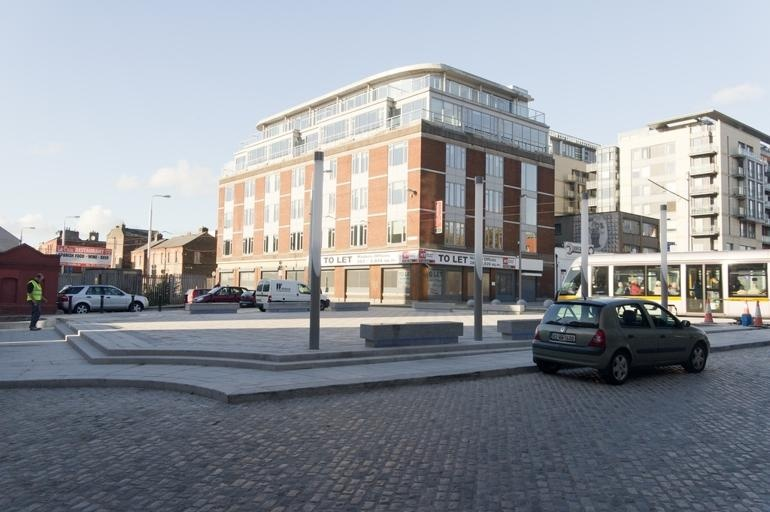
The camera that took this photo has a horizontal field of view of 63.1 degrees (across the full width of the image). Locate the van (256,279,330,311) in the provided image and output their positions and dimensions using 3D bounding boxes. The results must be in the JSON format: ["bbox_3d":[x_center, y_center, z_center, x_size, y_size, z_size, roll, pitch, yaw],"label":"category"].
[{"bbox_3d":[-5.710,2.091,37.045,4.714,2.007,2.556,-2,-2,-28],"label":"van"}]

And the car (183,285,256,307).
[{"bbox_3d":[-9.506,2.579,37.460,2.988,1.467,5.395,0,5,-5],"label":"car"}]

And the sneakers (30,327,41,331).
[{"bbox_3d":[-13.701,2.796,24.498,0.450,0.186,0.142,1,-3,-12],"label":"sneakers"}]

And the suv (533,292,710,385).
[{"bbox_3d":[5.897,1.943,15.393,3.604,1.411,1.988,-3,-2,-22],"label":"suv"}]

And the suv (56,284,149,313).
[{"bbox_3d":[-15.003,2.240,33.182,3.547,1.056,1.434,-1,-2,-35],"label":"suv"}]
